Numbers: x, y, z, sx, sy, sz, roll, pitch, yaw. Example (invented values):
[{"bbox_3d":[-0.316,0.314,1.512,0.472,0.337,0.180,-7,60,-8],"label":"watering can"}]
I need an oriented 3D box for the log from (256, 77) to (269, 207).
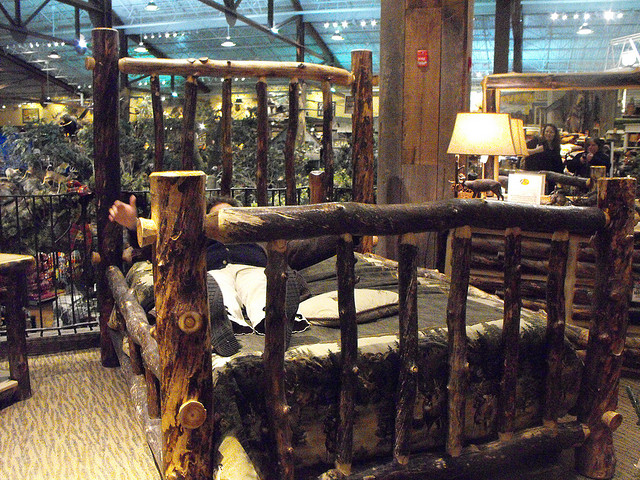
[{"bbox_3d":[-0.540,-0.906,5.223,0.098,1.239,0.099,-4,12,-26],"label":"log"}]

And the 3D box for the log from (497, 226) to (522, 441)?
[{"bbox_3d":[1.118,0.543,3.269,0.093,1.248,0.094,-5,-16,45],"label":"log"}]

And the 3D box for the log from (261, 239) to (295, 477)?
[{"bbox_3d":[-0.213,0.596,2.777,0.137,1.201,0.192,-2,10,-5],"label":"log"}]

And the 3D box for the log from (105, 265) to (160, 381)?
[{"bbox_3d":[-1.262,0.513,3.815,0.149,0.247,1.413,-16,32,-27],"label":"log"}]

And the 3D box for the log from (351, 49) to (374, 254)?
[{"bbox_3d":[0.408,-1.108,5.543,0.165,1.511,0.171,4,30,11],"label":"log"}]

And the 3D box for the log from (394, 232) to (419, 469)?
[{"bbox_3d":[0.464,0.605,3.016,0.117,1.288,0.183,0,10,8],"label":"log"}]

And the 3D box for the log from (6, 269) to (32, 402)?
[{"bbox_3d":[-2.360,0.734,4.352,0.191,1.022,0.258,-7,11,-31],"label":"log"}]

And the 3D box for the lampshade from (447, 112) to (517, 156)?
[{"bbox_3d":[1.308,-0.848,4.507,0.429,0.309,0.382,4,16,16],"label":"lampshade"}]

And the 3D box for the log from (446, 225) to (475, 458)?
[{"bbox_3d":[0.772,0.579,3.123,0.116,1.317,0.173,1,10,13],"label":"log"}]

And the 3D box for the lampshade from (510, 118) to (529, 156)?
[{"bbox_3d":[1.636,-0.870,4.690,0.169,0.284,0.175,0,8,44],"label":"lampshade"}]

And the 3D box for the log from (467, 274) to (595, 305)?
[{"bbox_3d":[2.022,0.429,5.371,1.297,0.209,0.167,-3,-33,31],"label":"log"}]

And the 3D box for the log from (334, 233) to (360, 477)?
[{"bbox_3d":[0.139,0.604,2.944,0.138,1.298,0.221,-1,10,4],"label":"log"}]

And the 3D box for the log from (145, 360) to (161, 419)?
[{"bbox_3d":[-1.027,0.923,3.440,0.094,0.439,0.102,-32,-43,20],"label":"log"}]

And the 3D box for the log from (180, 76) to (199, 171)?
[{"bbox_3d":[-1.198,-1.062,5.056,0.150,0.910,0.098,-3,33,-23],"label":"log"}]

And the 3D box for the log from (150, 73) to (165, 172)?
[{"bbox_3d":[-1.463,-1.037,5.016,0.118,0.876,0.084,-5,24,-30],"label":"log"}]

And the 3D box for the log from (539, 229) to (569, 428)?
[{"bbox_3d":[1.426,0.537,3.388,0.114,1.203,0.234,3,11,26],"label":"log"}]
